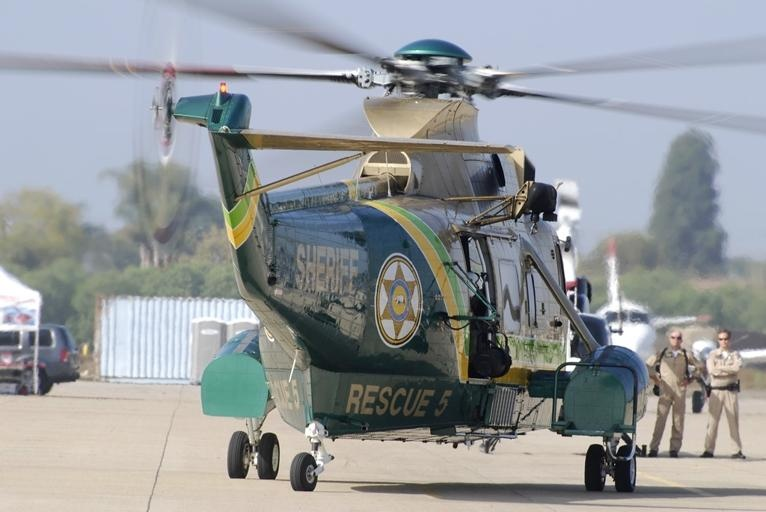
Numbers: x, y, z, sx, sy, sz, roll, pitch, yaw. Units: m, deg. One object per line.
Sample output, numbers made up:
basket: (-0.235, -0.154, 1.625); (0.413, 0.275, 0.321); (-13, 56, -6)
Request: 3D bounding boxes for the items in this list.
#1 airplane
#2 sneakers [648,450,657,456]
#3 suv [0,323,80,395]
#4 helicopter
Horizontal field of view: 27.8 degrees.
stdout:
airplane: (8.188, 2.289, 48.772); (5.222, 2.012, 4.694); (6, 9, 22)
sneakers: (6.122, 4.533, 35.365); (0.140, 0.128, 0.140); (0, 5, 0)
suv: (-9.902, 2.974, 44.398); (2.362, 1.143, 1.280); (2, -2, 0)
helicopter: (1.626, 0.531, 31.696); (9.730, 5.071, 11.592); (1, -3, 21)
